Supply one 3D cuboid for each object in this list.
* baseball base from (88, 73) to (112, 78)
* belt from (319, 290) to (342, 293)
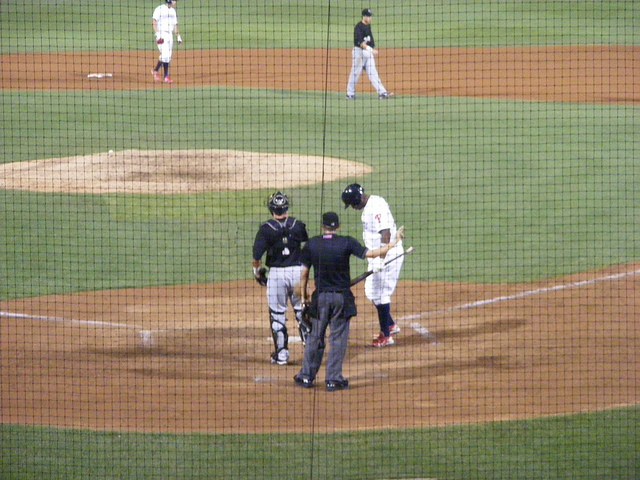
[{"bbox_3d":[-6.250,-4.668,34.208,0.657,0.093,0.662,2,14,-9],"label":"baseball base"},{"bbox_3d":[0.175,0.920,21.798,0.406,0.070,0.025,4,15,0],"label":"belt"}]
